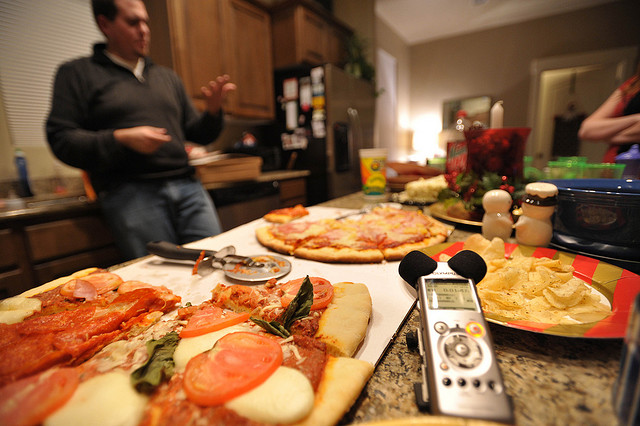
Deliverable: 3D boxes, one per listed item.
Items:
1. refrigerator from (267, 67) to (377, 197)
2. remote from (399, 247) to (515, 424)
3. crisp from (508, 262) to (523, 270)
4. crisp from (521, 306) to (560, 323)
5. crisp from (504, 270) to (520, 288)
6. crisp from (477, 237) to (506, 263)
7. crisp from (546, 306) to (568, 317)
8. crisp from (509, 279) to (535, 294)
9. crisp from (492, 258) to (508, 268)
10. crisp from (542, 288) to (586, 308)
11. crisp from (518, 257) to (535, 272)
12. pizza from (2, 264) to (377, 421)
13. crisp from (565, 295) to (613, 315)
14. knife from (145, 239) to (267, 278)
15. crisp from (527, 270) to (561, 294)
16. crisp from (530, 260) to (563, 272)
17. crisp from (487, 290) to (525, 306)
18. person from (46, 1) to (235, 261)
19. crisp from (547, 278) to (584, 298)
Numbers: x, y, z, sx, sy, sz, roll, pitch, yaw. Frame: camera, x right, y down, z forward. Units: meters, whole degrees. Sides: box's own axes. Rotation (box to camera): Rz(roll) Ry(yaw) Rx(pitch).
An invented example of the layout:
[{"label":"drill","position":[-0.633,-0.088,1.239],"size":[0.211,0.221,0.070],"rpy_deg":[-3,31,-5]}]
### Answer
[{"label":"refrigerator","position":[0.042,-0.935,4.636],"size":[1.255,1.427,0.850],"rpy_deg":[-4,15,-3]},{"label":"remote","position":[0.469,0.404,1.351],"size":[0.281,0.157,0.498],"rpy_deg":[-2,53,5]},{"label":"crisp","position":[0.792,0.207,1.597],"size":[0.036,0.010,0.035],"rpy_deg":[1,15,-3]},{"label":"crisp","position":[0.813,0.374,1.465],"size":[0.119,0.028,0.069],"rpy_deg":[9,18,40]},{"label":"crisp","position":[0.746,0.259,1.553],"size":[0.067,0.018,0.062],"rpy_deg":[-16,58,23]},{"label":"crisp","position":[0.729,0.150,1.659],"size":[0.099,0.083,0.070],"rpy_deg":[-2,15,5]},{"label":"crisp","position":[0.883,0.366,1.473],"size":[0.037,0.011,0.038],"rpy_deg":[16,39,39]},{"label":"crisp","position":[0.794,0.279,1.543],"size":[0.059,0.018,0.059],"rpy_deg":[19,51,39]},{"label":"crisp","position":[0.740,0.203,1.626],"size":[0.040,0.015,0.041],"rpy_deg":[-26,29,-35]},{"label":"crisp","position":[0.911,0.315,1.492],"size":[0.094,0.033,0.084],"rpy_deg":[-41,48,11]},{"label":"crisp","position":[0.850,0.206,1.620],"size":[0.048,0.016,0.047],"rpy_deg":[-35,43,-26]},{"label":"pizza","position":[-0.397,0.442,1.572],"size":[1.241,0.386,0.480],"rpy_deg":[1,15,16]},{"label":"crisp","position":[1.007,0.350,1.472],"size":[0.082,0.025,0.082],"rpy_deg":[9,33,20]},{"label":"knife","position":[-0.550,0.186,1.842],"size":[0.434,0.063,0.221],"rpy_deg":[7,15,13]},{"label":"crisp","position":[0.875,0.268,1.543],"size":[0.090,0.027,0.089],"rpy_deg":[-32,16,-6]},{"label":"crisp","position":[0.917,0.205,1.597],"size":[0.071,0.024,0.071],"rpy_deg":[-7,8,31]},{"label":"crisp","position":[0.722,0.323,1.512],"size":[0.085,0.023,0.075],"rpy_deg":[-2,4,6]},{"label":"person","position":[-1.110,-0.523,2.522],"size":[1.020,1.595,0.550],"rpy_deg":[-13,18,-34]},{"label":"crisp","position":[0.934,0.281,1.494],"size":[0.083,0.024,0.083],"rpy_deg":[-26,10,-8]}]
